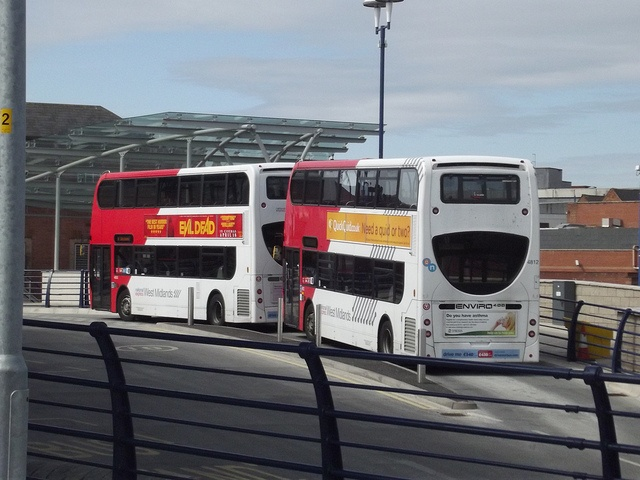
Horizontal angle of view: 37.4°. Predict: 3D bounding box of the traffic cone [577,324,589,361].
[{"bbox_3d":[6.163,2.339,21.966,0.285,0.787,1.038,2,3,16],"label":"traffic cone"}]
